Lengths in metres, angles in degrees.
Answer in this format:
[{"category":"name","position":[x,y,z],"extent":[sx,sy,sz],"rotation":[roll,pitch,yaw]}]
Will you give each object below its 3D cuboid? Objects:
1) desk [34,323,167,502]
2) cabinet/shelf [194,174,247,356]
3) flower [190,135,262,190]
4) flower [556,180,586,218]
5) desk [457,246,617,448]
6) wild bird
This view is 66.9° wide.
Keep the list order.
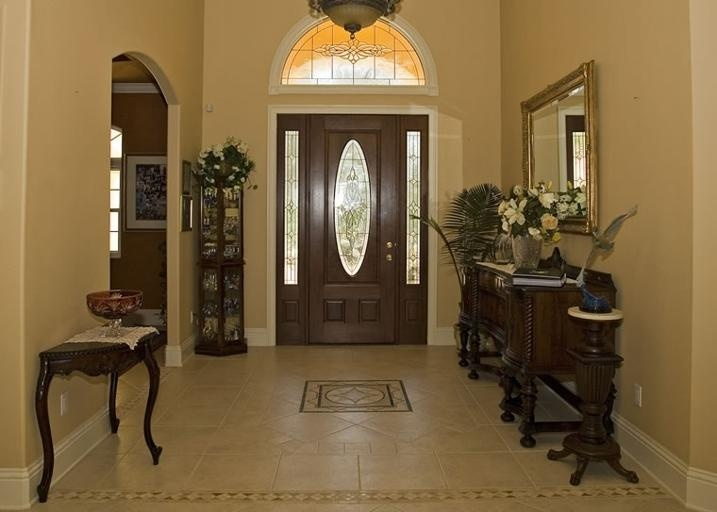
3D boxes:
[{"category":"desk","position":[-1.907,1.168,4.021],"extent":[0.921,1.090,1.106],"rotation":[-1,-6,4]},{"category":"cabinet/shelf","position":[-1.726,0.007,6.722],"extent":[0.777,2.427,0.741],"rotation":[-3,20,-26]},{"category":"flower","position":[-1.530,-1.018,6.561],"extent":[0.383,0.705,0.672],"rotation":[1,-6,-42]},{"category":"flower","position":[1.941,-0.485,4.887],"extent":[0.176,0.307,0.303],"rotation":[-11,26,12]},{"category":"desk","position":[1.605,0.744,5.602],"extent":[0.912,1.399,2.688],"rotation":[1,2,0]},{"category":"wild bird","position":[1.873,-0.081,4.058],"extent":[0.363,0.573,0.721],"rotation":[4,10,27]}]
